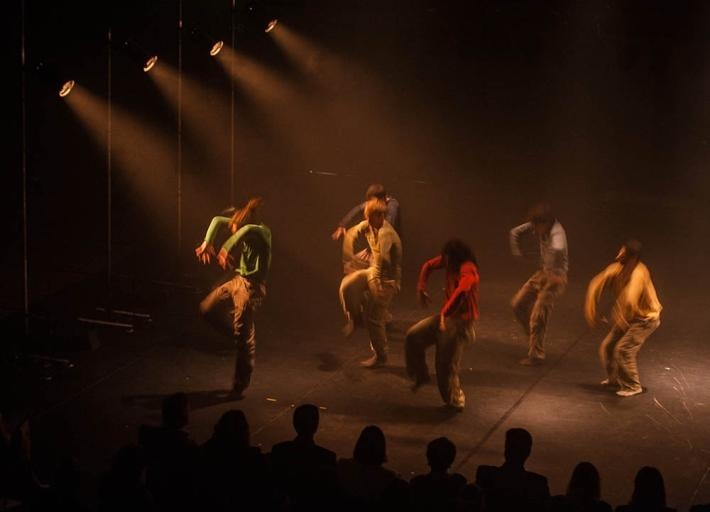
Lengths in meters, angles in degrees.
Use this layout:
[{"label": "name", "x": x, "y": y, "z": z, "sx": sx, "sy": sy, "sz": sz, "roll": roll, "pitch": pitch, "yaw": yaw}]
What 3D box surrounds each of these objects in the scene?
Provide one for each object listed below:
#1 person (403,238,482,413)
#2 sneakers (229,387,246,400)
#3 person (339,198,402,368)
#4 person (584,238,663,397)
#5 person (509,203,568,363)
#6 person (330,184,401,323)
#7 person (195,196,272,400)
[{"label": "person", "x": 0.990, "y": 0.782, "z": 6.343, "sx": 0.788, "sy": 1.822, "sz": 1.013, "roll": 3, "pitch": -7, "yaw": 7}, {"label": "sneakers", "x": -1.375, "y": 1.604, "z": 6.448, "sx": 0.140, "sy": 0.140, "sz": 0.127, "roll": -13, "pitch": -25, "yaw": 41}, {"label": "person", "x": 0.192, "y": 0.376, "z": 7.211, "sx": 0.774, "sy": 2.119, "sz": 0.590, "roll": 4, "pitch": -7, "yaw": 2}, {"label": "person", "x": 3.073, "y": 0.739, "z": 6.356, "sx": 0.743, "sy": 1.723, "sz": 0.500, "roll": -1, "pitch": -9, "yaw": 36}, {"label": "person", "x": 2.441, "y": 0.410, "z": 7.356, "sx": 0.692, "sy": 2.022, "sz": 0.643, "roll": 1, "pitch": -8, "yaw": 21}, {"label": "person", "x": 0.142, "y": -0.029, "z": 7.557, "sx": 1.027, "sy": 0.994, "sz": 1.524, "roll": 35, "pitch": -36, "yaw": 27}, {"label": "person", "x": -1.427, "y": 0.490, "z": 6.478, "sx": 0.781, "sy": 2.268, "sz": 0.538, "roll": 4, "pitch": -7, "yaw": 0}]
